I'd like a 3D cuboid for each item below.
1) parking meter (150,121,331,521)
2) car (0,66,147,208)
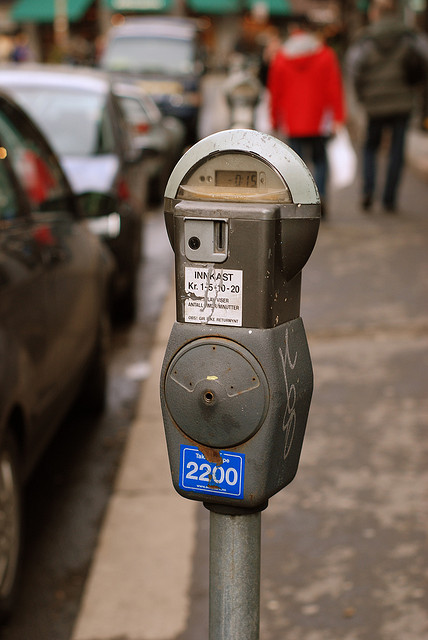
[{"bbox_3d":[0.047,0.007,1.231,0.316,0.715,0.296,-4,14,-3],"label":"parking meter"},{"bbox_3d":[-1.076,-1.485,5.337,0.964,0.851,1.722,-1,5,-2],"label":"car"}]
